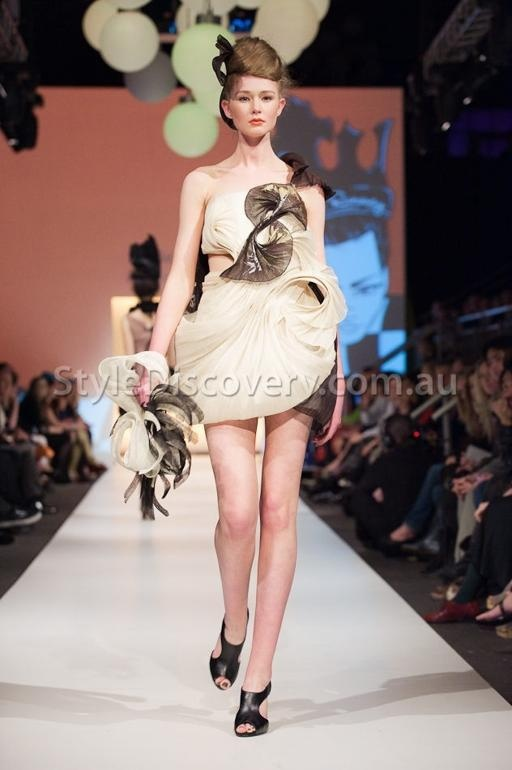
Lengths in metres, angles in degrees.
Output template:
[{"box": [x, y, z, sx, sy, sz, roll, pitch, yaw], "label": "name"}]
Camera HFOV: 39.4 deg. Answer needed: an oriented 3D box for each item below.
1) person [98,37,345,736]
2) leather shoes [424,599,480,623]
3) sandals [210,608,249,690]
[{"box": [-0.056, -0.038, 1.490, 0.480, 1.419, 0.338, 0, -2, 7], "label": "person"}, {"box": [0.575, 0.641, 2.042, 0.173, 0.060, 0.058, -3, -9, -2], "label": "leather shoes"}, {"box": [-0.051, 0.559, 1.528, 0.067, 0.168, 0.043, 3, -3, -3], "label": "sandals"}]
